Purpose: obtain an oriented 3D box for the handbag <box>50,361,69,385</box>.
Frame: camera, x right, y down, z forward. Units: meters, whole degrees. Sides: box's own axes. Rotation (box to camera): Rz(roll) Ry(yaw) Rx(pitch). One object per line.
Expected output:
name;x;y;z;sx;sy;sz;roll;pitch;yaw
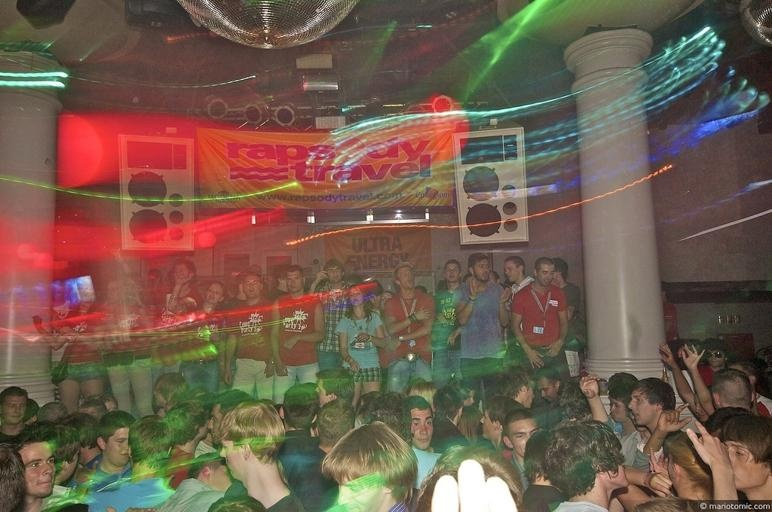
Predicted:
handbag;-5.346;1.912;9.130;0.374;0.368;0.094;-16;-14;28
